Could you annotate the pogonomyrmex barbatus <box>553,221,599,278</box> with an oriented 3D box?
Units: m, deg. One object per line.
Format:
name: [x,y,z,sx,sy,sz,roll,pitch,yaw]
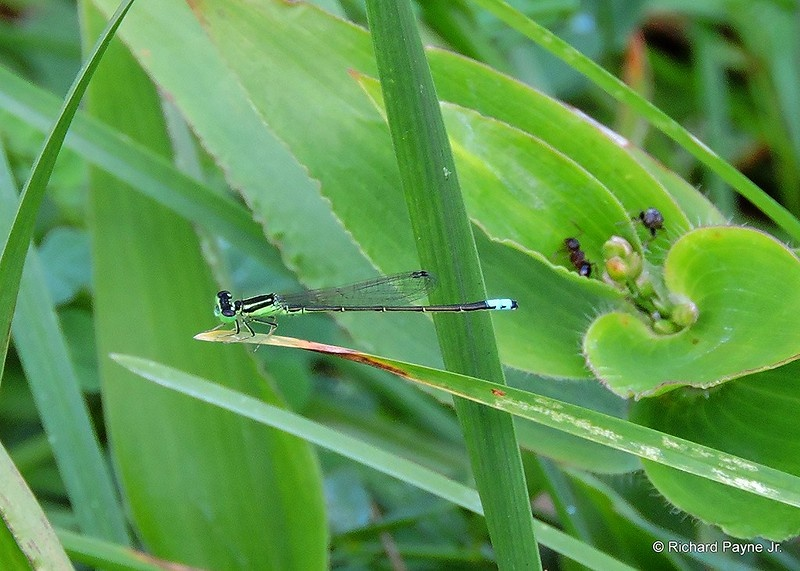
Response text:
pogonomyrmex barbatus: [0.721,-0.131,3.158,0.159,0.207,0.064,-20,-19,0]

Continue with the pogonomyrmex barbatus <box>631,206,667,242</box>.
pogonomyrmex barbatus: [1.011,-0.250,3.167,0.112,0.114,0.050,-19,-25,17]
